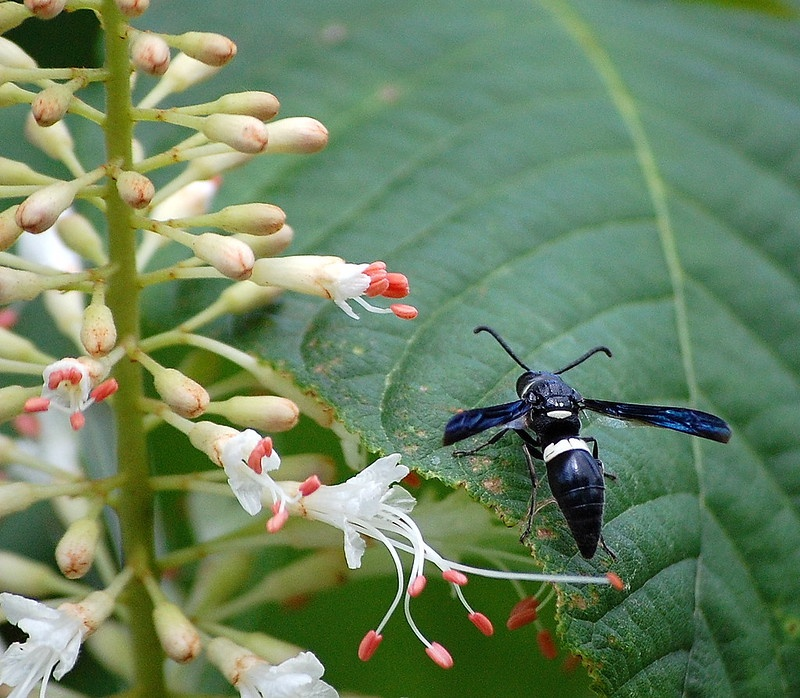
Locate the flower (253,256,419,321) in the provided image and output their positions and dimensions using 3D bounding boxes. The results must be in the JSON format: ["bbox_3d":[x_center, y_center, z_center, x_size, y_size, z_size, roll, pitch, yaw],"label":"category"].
[{"bbox_3d":[-0.198,-0.167,2.709,0.494,0.134,0.101,13,-8,2],"label":"flower"}]

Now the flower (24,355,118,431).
[{"bbox_3d":[-0.796,0.093,2.335,0.188,0.098,0.225,3,23,14],"label":"flower"}]
